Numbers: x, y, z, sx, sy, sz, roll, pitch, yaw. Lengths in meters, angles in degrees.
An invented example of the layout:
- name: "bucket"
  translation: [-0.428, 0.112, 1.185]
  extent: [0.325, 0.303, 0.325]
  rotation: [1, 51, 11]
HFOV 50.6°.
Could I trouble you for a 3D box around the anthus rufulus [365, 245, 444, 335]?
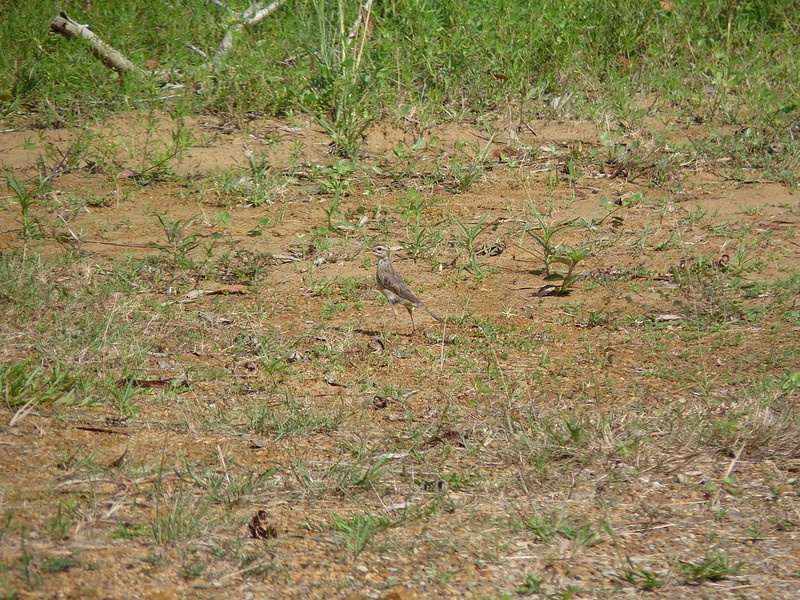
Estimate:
- name: "anthus rufulus"
  translation: [0.028, -0.094, 6.737]
  extent: [0.401, 0.506, 0.734]
  rotation: [-13, 32, -20]
